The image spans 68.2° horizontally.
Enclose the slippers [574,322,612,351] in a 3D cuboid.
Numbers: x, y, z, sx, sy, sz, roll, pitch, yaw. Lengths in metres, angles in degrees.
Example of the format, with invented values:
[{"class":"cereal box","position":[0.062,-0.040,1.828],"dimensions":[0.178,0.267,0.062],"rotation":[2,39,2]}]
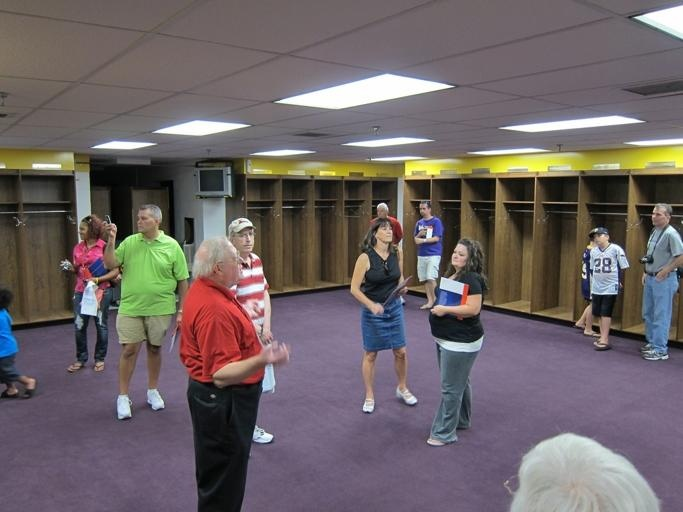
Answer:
[{"class":"slippers","position":[3.534,1.036,6.863],"dimensions":[0.668,0.277,0.206],"rotation":[-10,10,-25]}]

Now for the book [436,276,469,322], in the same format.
[{"class":"book","position":[0.896,0.352,4.034],"dimensions":[0.053,0.340,0.288],"rotation":[15,0,-43]}]

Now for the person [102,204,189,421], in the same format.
[{"class":"person","position":[-1.808,0.511,4.742],"dimensions":[0.682,1.954,0.338],"rotation":[-4,9,-26]}]

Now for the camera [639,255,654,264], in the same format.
[{"class":"camera","position":[3.875,0.041,6.389],"dimensions":[0.112,0.065,0.162],"rotation":[4,6,32]}]

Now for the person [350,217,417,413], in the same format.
[{"class":"person","position":[0.394,0.564,4.795],"dimensions":[0.472,1.813,0.555],"rotation":[7,11,42]}]

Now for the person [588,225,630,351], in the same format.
[{"class":"person","position":[3.505,0.423,6.745],"dimensions":[0.521,1.570,0.448],"rotation":[-7,11,-39]}]

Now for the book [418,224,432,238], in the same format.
[{"class":"book","position":[1.481,-0.435,8.894],"dimensions":[0.212,0.220,0.166],"rotation":[-6,17,-14]}]

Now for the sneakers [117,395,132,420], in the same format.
[{"class":"sneakers","position":[-2.040,1.411,4.713],"dimensions":[0.097,0.115,0.270],"rotation":[-1,4,-24]}]

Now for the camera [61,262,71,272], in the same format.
[{"class":"camera","position":[-4.071,0.151,7.416],"dimensions":[0.140,0.060,0.156],"rotation":[19,2,-37]}]

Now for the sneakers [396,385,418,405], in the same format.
[{"class":"sneakers","position":[0.635,1.381,5.033],"dimensions":[0.101,0.111,0.263],"rotation":[-11,7,-28]}]

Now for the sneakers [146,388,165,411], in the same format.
[{"class":"sneakers","position":[-1.817,1.396,4.895],"dimensions":[0.101,0.121,0.281],"rotation":[-2,1,-31]}]

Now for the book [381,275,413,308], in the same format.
[{"class":"book","position":[0.503,0.317,4.664],"dimensions":[0.227,0.309,0.487],"rotation":[1,9,6]}]

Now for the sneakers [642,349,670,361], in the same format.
[{"class":"sneakers","position":[3.958,1.210,6.300],"dimensions":[0.347,0.168,0.133],"rotation":[2,4,6]}]

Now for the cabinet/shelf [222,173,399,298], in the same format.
[{"class":"cabinet/shelf","position":[-0.650,-0.411,8.703],"dimensions":[2.484,1.823,0.478],"rotation":[-2,4,-28]}]

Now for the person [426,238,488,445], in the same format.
[{"class":"person","position":[0.951,0.726,4.178],"dimensions":[0.427,1.710,0.373],"rotation":[2,8,16]}]
